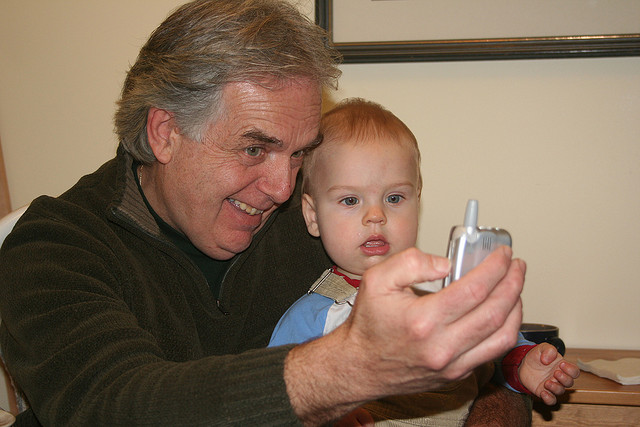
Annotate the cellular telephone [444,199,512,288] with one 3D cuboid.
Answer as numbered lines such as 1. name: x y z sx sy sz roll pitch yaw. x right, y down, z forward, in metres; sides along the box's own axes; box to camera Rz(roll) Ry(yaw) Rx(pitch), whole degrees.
1. cellular telephone: 0.400 0.080 1.586 0.141 0.256 0.175 1 -1 37

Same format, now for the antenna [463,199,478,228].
1. antenna: 0.400 -0.001 1.586 0.038 0.075 0.096 -4 -1 14
